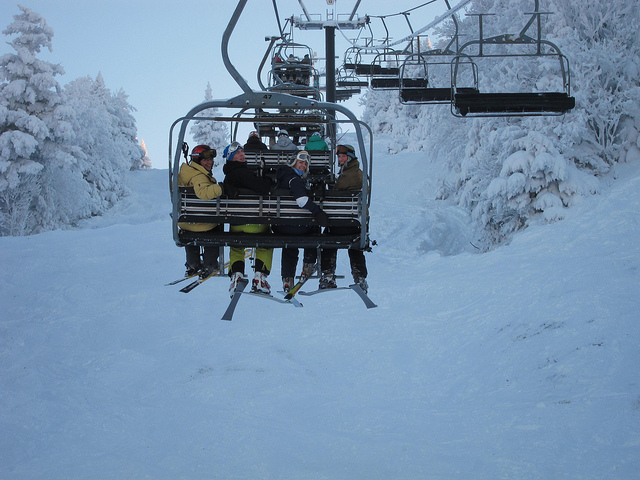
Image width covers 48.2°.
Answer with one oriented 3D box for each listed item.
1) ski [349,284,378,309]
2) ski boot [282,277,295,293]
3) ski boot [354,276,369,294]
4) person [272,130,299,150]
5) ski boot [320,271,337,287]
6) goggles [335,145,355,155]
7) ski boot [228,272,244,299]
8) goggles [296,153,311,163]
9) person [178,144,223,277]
[{"bbox_3d":[0.772,0.997,12.608,0.249,0.641,0.106,-40,-14,26],"label":"ski"},{"bbox_3d":[-0.550,0.787,12.696,0.195,0.244,0.253,-1,-6,-12],"label":"ski boot"},{"bbox_3d":[0.777,0.796,12.989,0.128,0.200,0.404,10,-15,29],"label":"ski boot"},{"bbox_3d":[-0.704,-1.976,14.511,0.693,0.349,0.886,-1,15,-1],"label":"person"},{"bbox_3d":[0.182,0.697,12.788,0.226,0.273,0.288,5,-7,-16],"label":"ski boot"},{"bbox_3d":[0.478,-1.639,13.074,0.237,0.084,0.180,14,5,-25],"label":"goggles"},{"bbox_3d":[-1.448,0.785,12.416,0.173,0.473,0.217,10,2,0],"label":"ski boot"},{"bbox_3d":[-0.278,-1.423,12.403,0.183,0.161,0.077,-4,11,-25],"label":"goggles"},{"bbox_3d":[-2.121,-0.477,12.759,0.749,2.413,1.232,-2,10,-11],"label":"person"}]
